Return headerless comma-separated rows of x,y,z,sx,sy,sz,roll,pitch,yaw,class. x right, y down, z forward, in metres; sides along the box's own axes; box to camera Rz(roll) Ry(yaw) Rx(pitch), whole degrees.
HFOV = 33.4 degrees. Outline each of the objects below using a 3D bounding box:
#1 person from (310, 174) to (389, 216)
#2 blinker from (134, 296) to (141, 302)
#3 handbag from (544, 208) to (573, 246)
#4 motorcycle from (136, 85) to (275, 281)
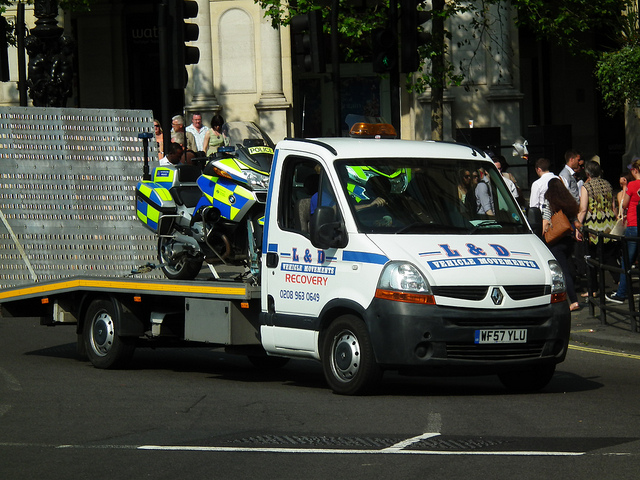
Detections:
0.277,-0.484,11.634,0.950,0.436,0.304,7,13,36,person
-2.232,0.717,13.101,0.076,0.087,0.128,-4,11,-13,blinker
3.768,-0.204,16.797,0.169,0.382,0.391,-4,52,-46,handbag
-1.415,-0.493,13.836,0.819,2.066,2.419,-10,13,-42,motorcycle
